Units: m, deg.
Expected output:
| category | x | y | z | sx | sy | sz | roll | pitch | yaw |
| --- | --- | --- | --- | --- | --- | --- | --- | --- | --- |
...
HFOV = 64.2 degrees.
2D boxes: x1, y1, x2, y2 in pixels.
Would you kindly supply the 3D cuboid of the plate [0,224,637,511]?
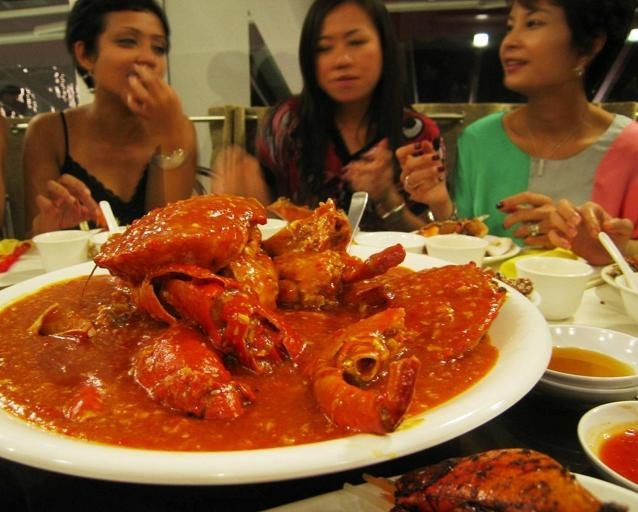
| category | x | y | z | sx | sy | sz | roll | pitch | yaw |
| --- | --- | --- | --- | --- | --- | --- | --- | --- | --- |
| plate | 0.051 | 0.140 | 1.167 | 1.050 | 0.205 | 1.071 | -16 | 21 | -40 |
